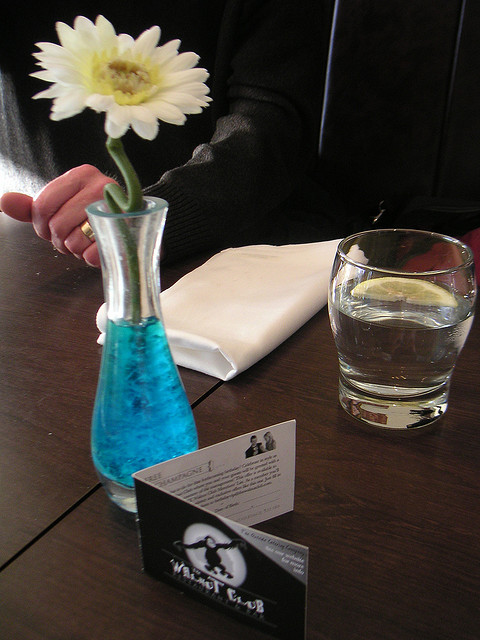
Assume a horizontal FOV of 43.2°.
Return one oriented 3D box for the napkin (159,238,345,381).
[{"bbox_3d":[0.015,-0.033,0.611,0.131,0.036,0.205,14,31,27],"label":"napkin"}]
